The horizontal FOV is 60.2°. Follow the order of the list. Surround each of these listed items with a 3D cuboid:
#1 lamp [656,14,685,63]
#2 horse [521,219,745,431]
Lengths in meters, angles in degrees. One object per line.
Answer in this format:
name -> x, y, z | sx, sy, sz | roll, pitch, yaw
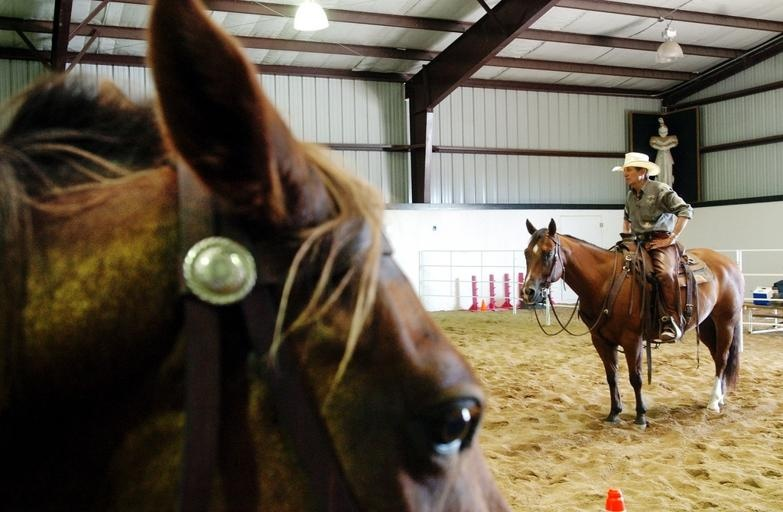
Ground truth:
lamp -> 4.602, -3.615, 11.163 | 0.352, 0.715, 0.376 | -1, 6, 20
horse -> 1.907, 0.486, 5.039 | 1.859, 1.628, 0.527 | -1, 5, -15
